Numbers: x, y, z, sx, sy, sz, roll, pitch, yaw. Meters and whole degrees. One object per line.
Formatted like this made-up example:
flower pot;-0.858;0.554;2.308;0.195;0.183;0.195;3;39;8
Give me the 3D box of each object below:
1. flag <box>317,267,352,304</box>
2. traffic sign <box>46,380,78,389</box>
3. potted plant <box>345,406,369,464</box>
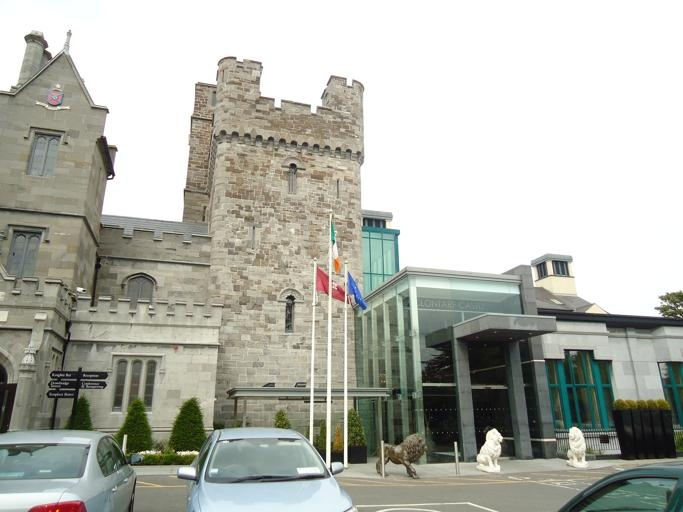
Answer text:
flag;-0.384;1.182;22.299;1.918;1.364;0.226;20;-36;-34
traffic sign;-9.566;4.403;17.812;0.900;0.315;0.300;8;-10;-23
potted plant;0.604;7.939;22.807;0.984;2.393;0.983;-10;-16;8
